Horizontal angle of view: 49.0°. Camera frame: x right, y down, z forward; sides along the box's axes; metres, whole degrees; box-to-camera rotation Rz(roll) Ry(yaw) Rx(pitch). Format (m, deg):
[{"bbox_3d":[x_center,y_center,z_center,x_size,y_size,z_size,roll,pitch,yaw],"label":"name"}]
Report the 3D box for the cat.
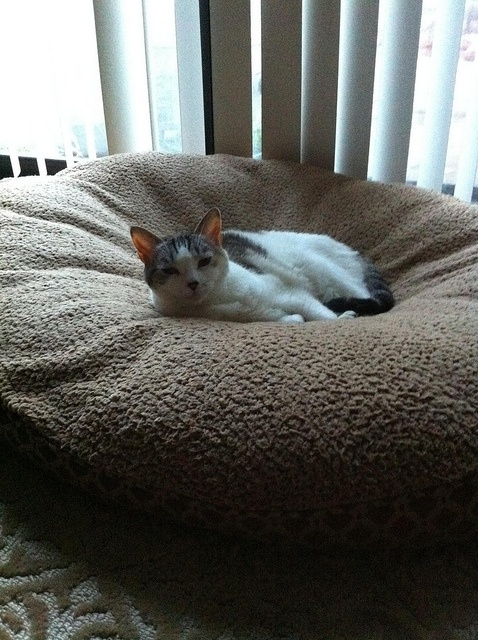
[{"bbox_3d":[0.069,-0.094,1.202,0.335,0.169,0.457,-1,3,30],"label":"cat"}]
